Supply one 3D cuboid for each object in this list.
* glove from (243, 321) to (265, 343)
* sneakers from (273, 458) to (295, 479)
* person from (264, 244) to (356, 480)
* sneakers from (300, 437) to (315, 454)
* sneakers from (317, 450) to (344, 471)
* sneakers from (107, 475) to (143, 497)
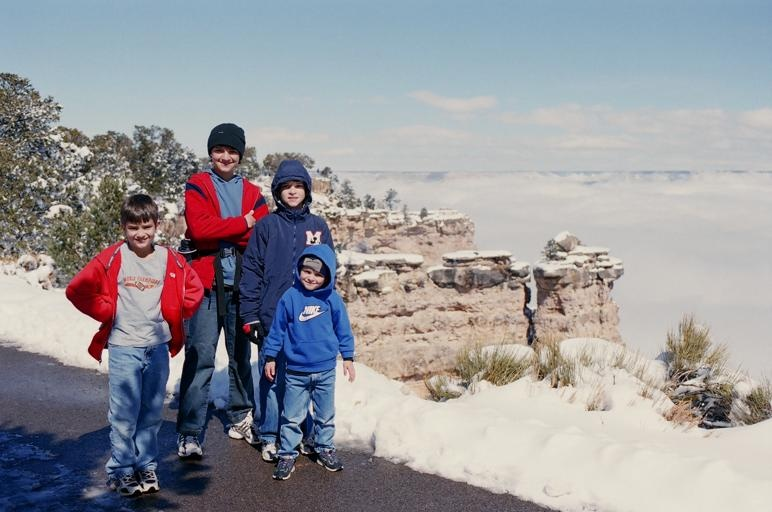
[{"bbox_3d":[-1.522,0.852,7.990,0.158,0.275,0.326,-7,10,-42],"label":"glove"},{"bbox_3d":[-1.132,2.296,7.816,0.236,0.200,0.315,0,7,-1],"label":"sneakers"},{"bbox_3d":[-0.864,1.126,7.856,0.991,2.505,0.609,-1,8,-9],"label":"person"},{"bbox_3d":[-0.899,2.179,8.211,0.153,0.165,0.185,-3,2,5],"label":"sneakers"},{"bbox_3d":[-0.615,2.272,7.918,0.140,0.160,0.359,5,-11,-35],"label":"sneakers"},{"bbox_3d":[-2.704,2.364,7.376,0.307,0.210,0.177,-2,8,-17],"label":"sneakers"}]
